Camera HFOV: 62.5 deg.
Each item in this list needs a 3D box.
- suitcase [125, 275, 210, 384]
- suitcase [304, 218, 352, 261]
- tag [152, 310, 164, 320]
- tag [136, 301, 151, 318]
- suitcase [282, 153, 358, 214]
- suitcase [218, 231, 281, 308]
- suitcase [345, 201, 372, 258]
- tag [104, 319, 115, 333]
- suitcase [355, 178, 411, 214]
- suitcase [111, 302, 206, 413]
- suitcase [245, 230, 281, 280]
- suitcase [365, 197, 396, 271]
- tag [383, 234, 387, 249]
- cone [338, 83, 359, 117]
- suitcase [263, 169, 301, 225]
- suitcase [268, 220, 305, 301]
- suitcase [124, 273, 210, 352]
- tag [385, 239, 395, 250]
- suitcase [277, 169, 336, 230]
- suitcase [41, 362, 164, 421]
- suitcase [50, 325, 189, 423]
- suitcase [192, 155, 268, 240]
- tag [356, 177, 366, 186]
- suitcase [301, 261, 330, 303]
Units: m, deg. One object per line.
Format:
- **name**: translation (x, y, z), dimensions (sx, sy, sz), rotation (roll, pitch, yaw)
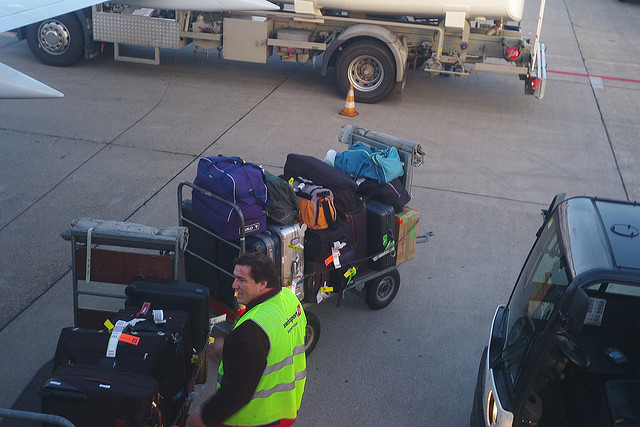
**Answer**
- **suitcase**: translation (-1.534, 1.184, 5.318), dimensions (0.767, 1.280, 0.388), rotation (7, 17, 11)
- **suitcase**: translation (0.096, 0.151, 6.419), dimensions (0.587, 0.474, 0.407), rotation (-20, 33, -40)
- **tag**: translation (-1.603, 1.010, 5.292), dimensions (0.083, 0.095, 0.078), rotation (0, 3, -22)
- **tag**: translation (-1.768, 0.982, 5.370), dimensions (0.044, 0.038, 0.190), rotation (1, 31, 12)
- **suitcase**: translation (-0.034, -0.598, 7.017), dimensions (0.572, 0.543, 1.318), rotation (25, 21, 34)
- **suitcase**: translation (-0.825, 0.661, 6.364), dimensions (0.768, 0.832, 0.467), rotation (0, 17, -13)
- **suitcase**: translation (0.464, 0.190, 6.630), dimensions (0.203, 0.651, 0.432), rotation (-5, 30, 4)
- **tag**: translation (-2.132, 1.152, 5.407), dimensions (0.101, 0.179, 0.050), rotation (-12, 30, 48)
- **suitcase**: translation (0.823, -0.300, 6.922), dimensions (0.567, 0.205, 0.457), rotation (28, 17, 19)
- **suitcase**: translation (-1.562, 1.392, 5.119), dimensions (0.848, 0.722, 1.194), rotation (8, -19, 7)
- **suitcase**: translation (-0.644, 0.501, 6.311), dimensions (0.423, 0.799, 0.479), rotation (-5, -3, -12)
- **suitcase**: translation (0.763, 0.225, 6.838), dimensions (0.301, 0.900, 0.557), rotation (-27, 38, -35)
- **tag**: translation (0.840, 0.362, 6.837), dimensions (0.065, 0.170, 0.028), rotation (-15, 28, -36)
- **cone**: translation (0.654, -2.492, 11.742), dimensions (0.464, 0.550, 0.376), rotation (3, 24, 0)
- **suitcase**: translation (-0.457, -0.144, 6.221), dimensions (0.321, 0.621, 0.207), rotation (21, 35, 39)
- **suitcase**: translation (-0.388, 0.492, 5.955), dimensions (0.283, 0.881, 0.560), rotation (-13, 31, -25)
- **suitcase**: translation (-1.556, 1.047, 5.405), dimensions (0.627, 0.732, 0.250), rotation (8, 20, 10)
- **tag**: translation (0.916, 0.411, 6.914), dimensions (0.045, 0.175, 0.047), rotation (37, -18, -5)
- **suitcase**: translation (-0.173, -0.153, 6.746), dimensions (0.472, 0.623, 1.100), rotation (-11, 18, -31)
- **suitcase**: translation (-1.874, 1.701, 5.164), dimensions (1.032, 0.478, 1.095), rotation (3, -3, 2)
- **suitcase**: translation (-1.876, 1.323, 5.036), dimensions (1.096, 0.917, 0.888), rotation (5, 10, 10)
- **suitcase**: translation (-1.110, -0.300, 6.340), dimensions (0.996, 0.868, 0.621), rotation (24, 24, 37)
- **tag**: translation (0.534, -0.438, 6.989), dimensions (0.088, 0.026, 0.097), rotation (-23, 25, 7)
- **suitcase**: translation (-0.066, 0.827, 6.498), dimensions (0.302, 0.452, 0.358), rotation (19, 27, 32)
